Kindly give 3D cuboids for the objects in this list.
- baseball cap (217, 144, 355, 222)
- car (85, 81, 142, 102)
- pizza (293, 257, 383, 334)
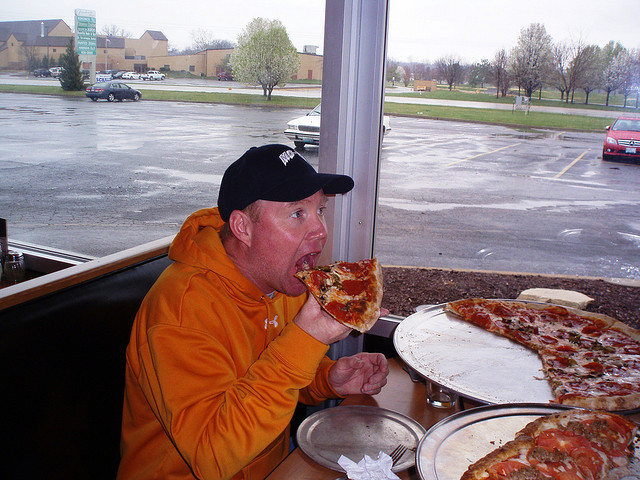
[{"bbox_3d":[-0.148,-0.227,1.649,0.508,0.250,0.350,-15,-4,41],"label":"baseball cap"},{"bbox_3d":[-7.618,-5.536,16.886,0.913,0.709,2.133,4,16,8],"label":"car"},{"bbox_3d":[0.082,0.153,1.625,0.314,0.084,0.364,16,36,11],"label":"pizza"}]
